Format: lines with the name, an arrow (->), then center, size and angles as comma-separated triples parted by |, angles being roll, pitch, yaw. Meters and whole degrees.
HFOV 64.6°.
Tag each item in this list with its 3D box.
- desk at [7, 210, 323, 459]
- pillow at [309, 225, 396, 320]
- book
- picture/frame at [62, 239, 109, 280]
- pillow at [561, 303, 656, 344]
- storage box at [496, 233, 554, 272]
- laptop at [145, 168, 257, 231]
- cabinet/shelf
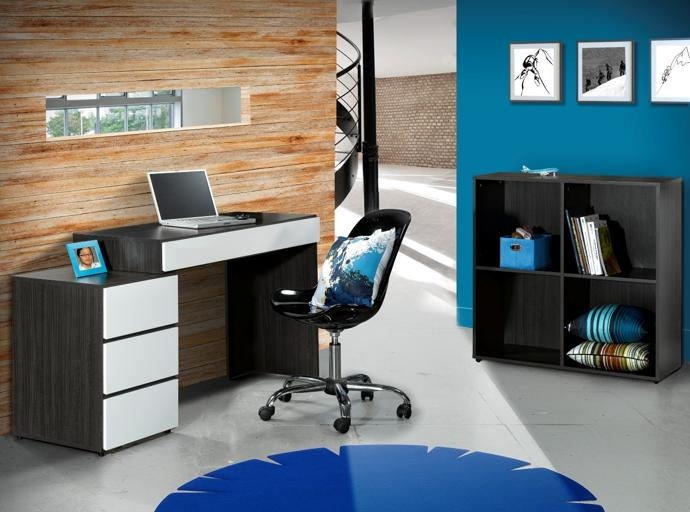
desk -> -0.920, 0.407, 3.429 | 0.793, 0.924, 1.777 | -3, 2, 29
pillow -> 0.132, 0.100, 3.164 | 0.544, 0.448, 0.161 | 4, -16, 46
book -> 1.690, -0.082, 3.816 | 0.407, 0.445, 0.167 | -6, 0, -13
picture/frame -> -1.317, 0.022, 2.816 | 0.015, 0.169, 0.184 | -15, 13, 36
pillow -> 1.791, 0.431, 3.718 | 0.369, 0.142, 0.325 | -1, 4, 28
storage box -> 1.308, -0.024, 3.994 | 0.317, 0.194, 0.296 | 0, 5, 23
laptop -> -0.867, -0.335, 3.315 | 0.524, 0.282, 0.503 | 2, 7, 31
cabinet/shelf -> 1.680, 0.148, 3.894 | 1.761, 1.466, 0.545 | 2, 3, 29
